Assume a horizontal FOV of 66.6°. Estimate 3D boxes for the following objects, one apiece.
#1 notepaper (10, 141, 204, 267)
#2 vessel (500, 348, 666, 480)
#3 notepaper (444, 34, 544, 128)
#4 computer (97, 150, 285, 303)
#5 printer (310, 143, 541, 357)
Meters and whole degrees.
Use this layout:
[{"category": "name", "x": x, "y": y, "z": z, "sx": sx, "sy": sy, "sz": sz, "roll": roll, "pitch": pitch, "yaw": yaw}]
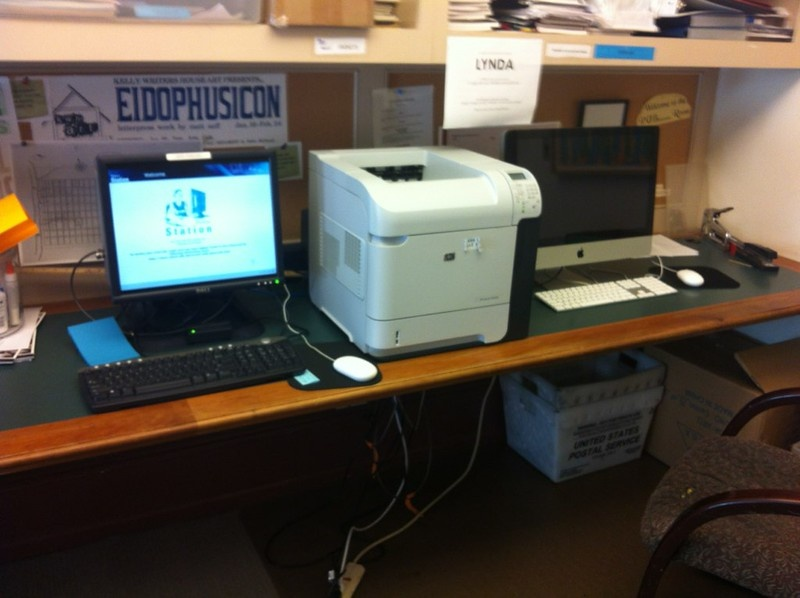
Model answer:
[{"category": "notepaper", "x": -0.819, "y": -0.268, "z": 1.686, "sx": 0.366, "sy": 0.254, "sz": 0.029, "roll": -8, "pitch": 26, "yaw": -17}, {"category": "vessel", "x": 0.757, "y": 0.448, "z": 2.497, "sx": 0.564, "sy": 0.399, "sz": 0.357, "roll": -6, "pitch": 18, "yaw": -22}, {"category": "notepaper", "x": 0.279, "y": -0.679, "z": 1.874, "sx": 0.286, "sy": 0.207, "sz": 0.039, "roll": -6, "pitch": 32, "yaw": -20}, {"category": "computer", "x": -0.612, "y": -0.174, "z": 1.878, "sx": 0.652, "sy": 0.502, "sz": 0.376, "roll": -9, "pitch": 18, "yaw": -26}, {"category": "printer", "x": 0.039, "y": -0.204, "z": 1.844, "sx": 0.586, "sy": 0.521, "sz": 0.612, "roll": -7, "pitch": 24, "yaw": -24}]
